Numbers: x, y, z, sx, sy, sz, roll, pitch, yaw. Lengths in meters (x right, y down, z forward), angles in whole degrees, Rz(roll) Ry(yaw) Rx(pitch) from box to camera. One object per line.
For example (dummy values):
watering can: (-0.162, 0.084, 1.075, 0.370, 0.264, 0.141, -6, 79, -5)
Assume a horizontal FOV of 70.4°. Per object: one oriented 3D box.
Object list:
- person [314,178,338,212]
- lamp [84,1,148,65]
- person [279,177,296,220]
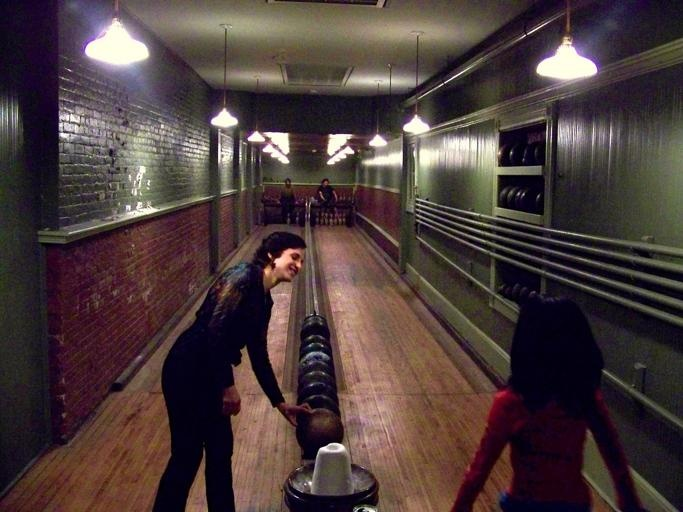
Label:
person: (-0.620, -2.642, 20.868, 0.808, 1.379, 0.725, -2, 11, -21)
lamp: (-1.519, -1.539, 3.284, 0.386, 0.384, 0.242, -2, 11, -18)
person: (-2.312, -2.396, 20.940, 0.661, 1.927, 0.561, 0, 10, -9)
